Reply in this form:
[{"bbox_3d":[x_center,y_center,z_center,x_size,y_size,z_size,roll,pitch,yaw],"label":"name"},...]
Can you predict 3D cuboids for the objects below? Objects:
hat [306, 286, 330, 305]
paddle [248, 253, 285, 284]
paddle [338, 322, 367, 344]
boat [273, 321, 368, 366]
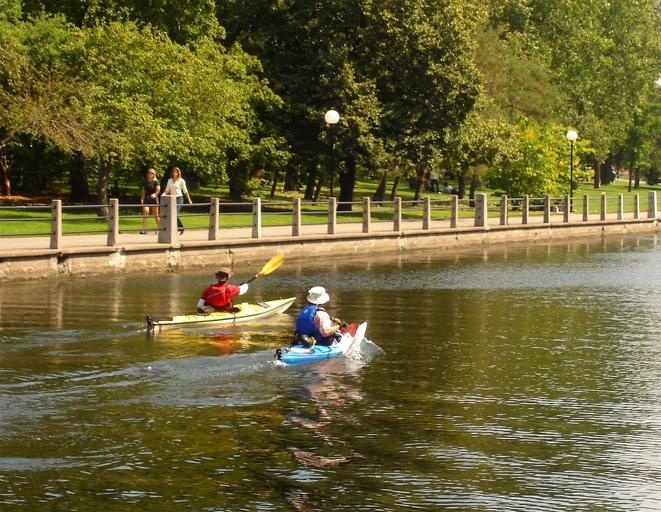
[{"bbox_3d":[-0.248,0.628,18.271,0.375,0.094,0.371,-12,35,-12],"label":"hat"},{"bbox_3d":[-1.641,0.317,28.149,1.311,0.250,0.211,-32,-8,31],"label":"paddle"},{"bbox_3d":[0.414,1.208,18.833,0.205,0.149,0.586,4,10,21],"label":"paddle"},{"bbox_3d":[-0.146,1.380,18.170,0.445,0.520,1.822,0,2,41],"label":"boat"}]
